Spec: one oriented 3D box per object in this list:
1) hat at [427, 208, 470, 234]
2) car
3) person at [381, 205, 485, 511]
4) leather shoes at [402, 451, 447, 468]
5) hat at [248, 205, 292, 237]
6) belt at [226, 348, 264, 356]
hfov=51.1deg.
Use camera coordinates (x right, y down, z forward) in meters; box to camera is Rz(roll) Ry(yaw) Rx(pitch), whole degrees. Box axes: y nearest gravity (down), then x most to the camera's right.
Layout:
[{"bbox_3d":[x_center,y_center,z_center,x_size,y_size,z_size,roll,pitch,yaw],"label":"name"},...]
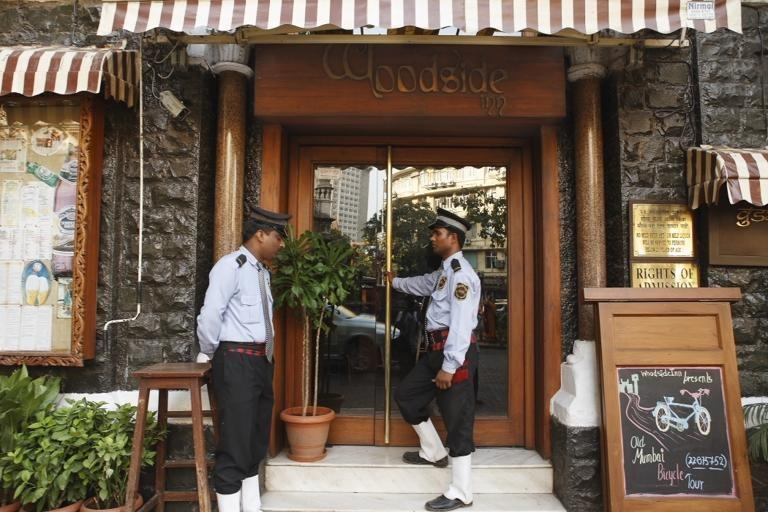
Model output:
[{"bbox_3d":[0.677,-0.336,8.130,0.321,0.142,0.265,11,1,-3],"label":"hat"},{"bbox_3d":[0.404,0.775,8.491,2.597,1.251,0.792,-1,2,-6],"label":"car"},{"bbox_3d":[0.539,0.963,7.956,0.817,2.912,0.619,-5,-7,43],"label":"person"},{"bbox_3d":[0.410,2.013,7.976,0.401,0.146,0.160,10,-11,6],"label":"leather shoes"},{"bbox_3d":[-1.092,-0.330,7.624,0.331,0.161,0.294,0,6,-23],"label":"hat"},{"bbox_3d":[-1.257,0.878,7.339,0.329,0.074,0.045,1,-5,-22],"label":"belt"}]
